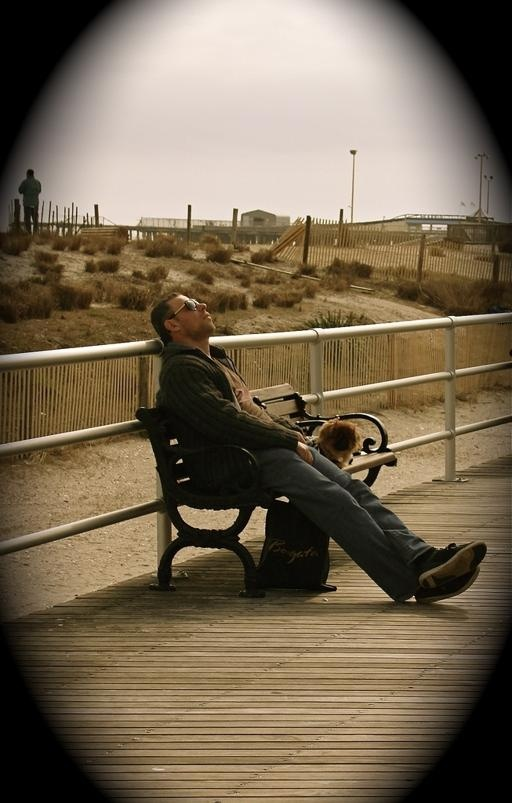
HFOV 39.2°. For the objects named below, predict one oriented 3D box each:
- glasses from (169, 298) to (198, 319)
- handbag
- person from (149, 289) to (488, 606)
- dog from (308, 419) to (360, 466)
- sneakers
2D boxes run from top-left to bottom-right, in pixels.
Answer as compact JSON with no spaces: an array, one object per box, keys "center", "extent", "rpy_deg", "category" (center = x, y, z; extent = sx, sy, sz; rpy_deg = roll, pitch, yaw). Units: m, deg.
[{"center":[-0.315,-0.417,3.108],"extent":[0.099,0.037,0.086],"rpy_deg":[-32,2,13],"category":"glasses"},{"center":[0.167,0.591,2.927],"extent":[0.345,0.385,0.132],"rpy_deg":[3,-2,15],"category":"handbag"},{"center":[0.178,0.158,3.054],"extent":[1.606,1.105,0.568],"rpy_deg":[9,6,25],"category":"person"},{"center":[0.383,0.202,3.518],"extent":[0.118,0.132,0.191],"rpy_deg":[27,-17,11],"category":"dog"},{"center":[0.730,0.651,2.710],"extent":[0.215,0.079,0.098],"rpy_deg":[-38,31,-5],"category":"sneakers"}]
